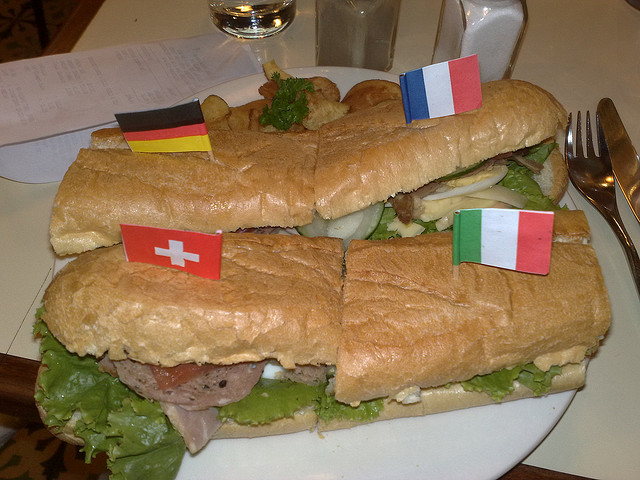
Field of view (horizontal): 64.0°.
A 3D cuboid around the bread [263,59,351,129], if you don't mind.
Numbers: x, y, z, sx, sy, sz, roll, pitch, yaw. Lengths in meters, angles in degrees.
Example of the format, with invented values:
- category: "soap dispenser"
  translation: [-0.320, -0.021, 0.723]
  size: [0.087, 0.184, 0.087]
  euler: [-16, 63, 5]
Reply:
- category: "bread"
  translation: [-0.122, -0.881, 3.278]
  size: [0.574, 0.362, 0.156]
  euler: [31, 1, 8]

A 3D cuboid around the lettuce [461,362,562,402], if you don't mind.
- category: "lettuce"
  translation: [0.933, 0.632, 2.589]
  size: [0.333, 0.214, 0.440]
  euler: [0, 23, 0]

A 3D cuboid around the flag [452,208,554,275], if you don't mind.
- category: "flag"
  translation: [0.757, 0.010, 2.181]
  size: [0.411, 0.328, 0.045]
  euler: [5, 39, 25]

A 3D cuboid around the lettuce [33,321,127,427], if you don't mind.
- category: "lettuce"
  translation: [-1.190, 0.663, 2.410]
  size: [0.500, 0.164, 0.406]
  euler: [31, 52, -11]

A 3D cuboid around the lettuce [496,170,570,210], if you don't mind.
- category: "lettuce"
  translation: [1.211, -0.278, 2.954]
  size: [0.372, 0.263, 0.329]
  euler: [-7, 22, -22]

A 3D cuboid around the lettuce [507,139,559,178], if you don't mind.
- category: "lettuce"
  translation: [1.249, -0.514, 3.083]
  size: [0.214, 0.226, 0.246]
  euler: [-7, 25, -17]

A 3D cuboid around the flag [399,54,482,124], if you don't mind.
- category: "flag"
  translation: [0.595, -0.738, 2.552]
  size: [0.391, 0.295, 0.042]
  euler: [-7, 44, 18]

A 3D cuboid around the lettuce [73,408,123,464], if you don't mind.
- category: "lettuce"
  translation: [-1.035, 0.912, 2.365]
  size: [0.206, 0.224, 0.059]
  euler: [-5, -12, -16]

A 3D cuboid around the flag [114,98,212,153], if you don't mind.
- category: "flag"
  translation: [-0.785, -0.540, 2.539]
  size: [0.421, 0.320, 0.032]
  euler: [-4, 49, 2]
